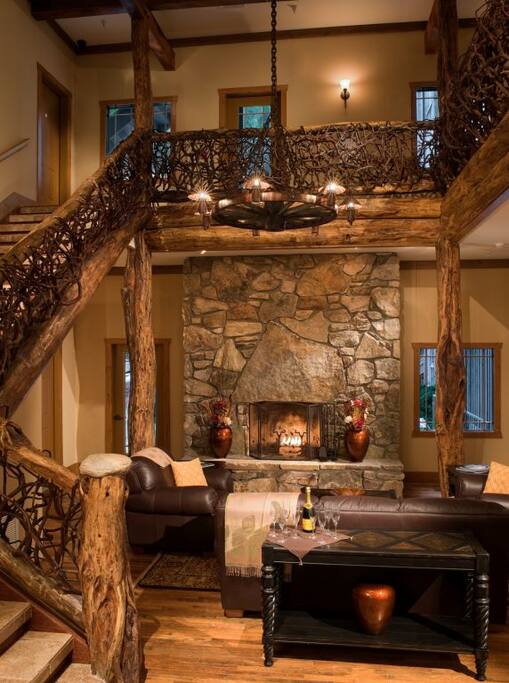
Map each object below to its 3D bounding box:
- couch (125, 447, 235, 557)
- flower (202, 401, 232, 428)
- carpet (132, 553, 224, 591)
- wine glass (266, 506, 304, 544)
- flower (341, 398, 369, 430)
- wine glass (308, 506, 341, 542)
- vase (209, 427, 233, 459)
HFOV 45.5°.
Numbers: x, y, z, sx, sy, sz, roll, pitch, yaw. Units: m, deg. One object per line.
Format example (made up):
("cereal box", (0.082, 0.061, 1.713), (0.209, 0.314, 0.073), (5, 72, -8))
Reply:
("couch", (-0.619, 1.397, 5.402), (0.763, 0.765, 1.053), (-1, 0, 8))
("flower", (-0.469, 0.941, 7.972), (0.369, 0.365, 0.344), (-1, -7, 3))
("carpet", (-0.616, 1.895, 4.941), (0.588, 0.026, 0.671), (2, -1, 1))
("wine glass", (0.194, 1.183, 3.908), (0.119, 0.208, 0.152), (0, -5, 7))
("flower", (1.258, 0.897, 7.655), (0.366, 0.518, 0.352), (1, 1, -15))
("wine glass", (0.457, 1.171, 3.843), (0.149, 0.166, 0.155), (1, -5, 12))
("vase", (-0.408, 1.291, 7.869), (0.366, 0.475, 0.360), (-2, 0, 12))
